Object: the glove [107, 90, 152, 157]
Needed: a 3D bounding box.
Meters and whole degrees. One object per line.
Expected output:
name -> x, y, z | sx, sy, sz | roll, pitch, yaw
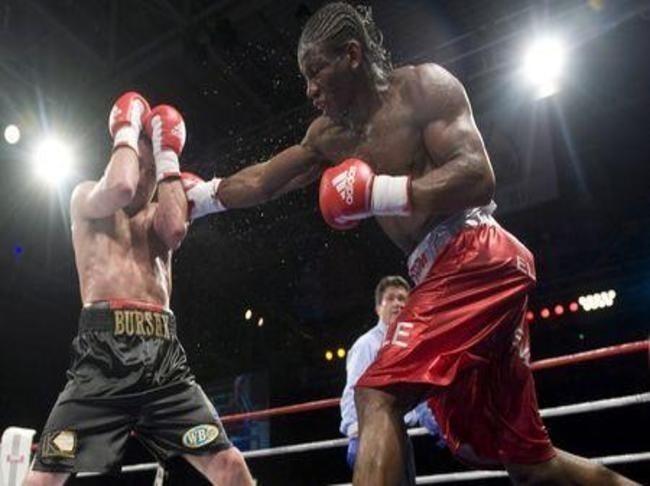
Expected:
glove -> -1.161, -0.732, 3.318 | 0.153, 0.400, 0.205 | -13, -24, 41
